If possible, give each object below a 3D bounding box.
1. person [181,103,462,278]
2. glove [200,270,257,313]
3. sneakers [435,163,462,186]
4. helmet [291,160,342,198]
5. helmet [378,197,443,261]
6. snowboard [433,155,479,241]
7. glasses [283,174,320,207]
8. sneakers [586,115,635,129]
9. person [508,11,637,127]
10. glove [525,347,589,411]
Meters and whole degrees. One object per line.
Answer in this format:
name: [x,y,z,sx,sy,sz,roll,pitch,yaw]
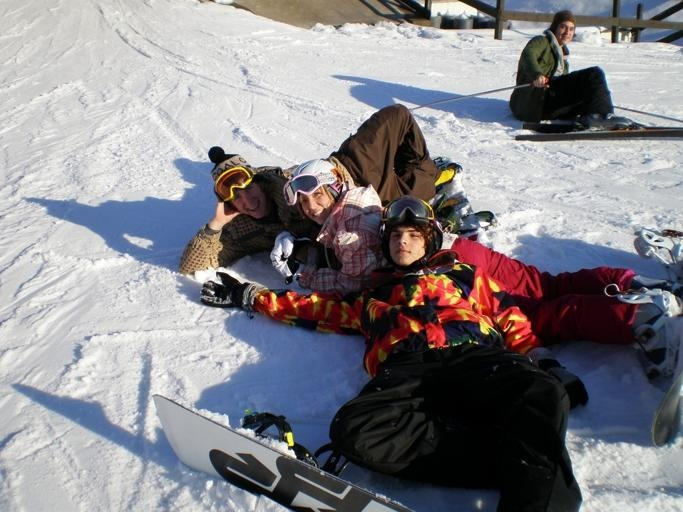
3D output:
person: [-0.361,-0.572,5.419,2.213,0.878,1.295,-26,23,-2]
glove: [-0.882,0.302,4.846,0.427,0.137,0.255,2,38,16]
sneakers: [0.913,-0.702,5.414,0.250,0.069,0.115,-31,71,24]
helmet: [-0.197,-0.587,4.740,0.280,0.373,0.235,-25,75,42]
helmet: [0.504,-0.205,4.537,0.434,0.445,0.418,-4,99,6]
snowboard: [0.932,-0.482,5.225,0.427,0.335,0.647,20,41,-20]
glasses: [-0.315,-0.489,4.686,0.248,0.240,0.096,-19,81,14]
sneakers: [2.904,-1.422,6.678,0.365,0.097,0.214,11,18,30]
person: [2.460,-1.925,7.108,0.941,0.927,1.597,-14,55,1]
glove: [1.343,0.751,3.972,0.277,0.146,0.415,-10,45,-26]
